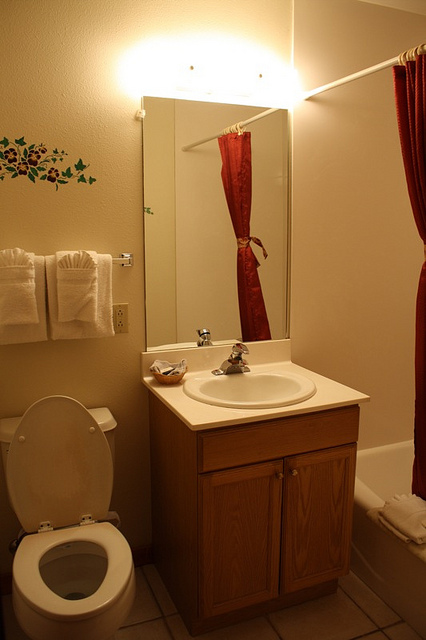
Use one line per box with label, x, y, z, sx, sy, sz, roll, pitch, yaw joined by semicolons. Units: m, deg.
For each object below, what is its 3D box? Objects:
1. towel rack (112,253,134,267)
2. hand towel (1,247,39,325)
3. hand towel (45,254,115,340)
towel rack;-0.319;-0.213;1.723;0.065;0.043;0.037;-3;9;-31
hand towel;-0.592;-0.101;1.467;0.105;0.220;0.023;-8;9;-33
hand towel;-0.414;-0.076;1.589;0.204;0.282;0.060;-7;10;-31
